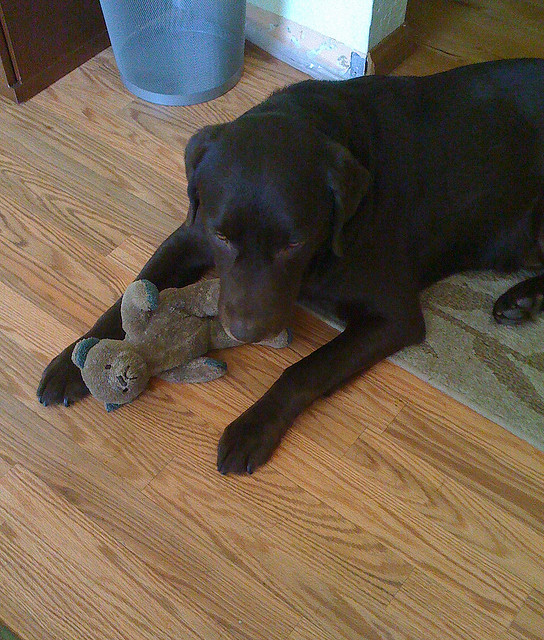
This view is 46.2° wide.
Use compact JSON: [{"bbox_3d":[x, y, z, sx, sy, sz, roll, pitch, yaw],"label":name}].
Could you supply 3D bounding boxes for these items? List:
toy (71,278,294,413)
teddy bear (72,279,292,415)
[{"bbox_3d":[-0.217,0.021,1.413,0.507,0.165,0.250,-22,69,-19],"label":"toy"},{"bbox_3d":[-0.191,0.010,1.391,0.503,0.165,0.257,-24,59,14],"label":"teddy bear"}]
